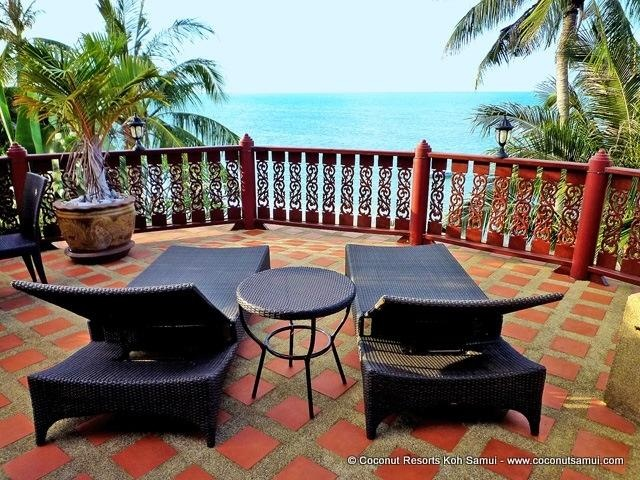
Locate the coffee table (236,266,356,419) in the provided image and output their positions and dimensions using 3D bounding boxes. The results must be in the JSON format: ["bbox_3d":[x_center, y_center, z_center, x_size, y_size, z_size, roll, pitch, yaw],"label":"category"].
[{"bbox_3d":[-0.247,0.771,3.006,0.752,0.730,0.789,6,-6,-9],"label":"coffee table"}]

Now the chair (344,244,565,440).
[{"bbox_3d":[0.767,0.545,3.177,1.049,0.945,1.334,-2,16,1],"label":"chair"}]

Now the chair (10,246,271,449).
[{"bbox_3d":[-1.054,0.460,3.184,0.830,0.730,1.991,2,21,-3],"label":"chair"}]
